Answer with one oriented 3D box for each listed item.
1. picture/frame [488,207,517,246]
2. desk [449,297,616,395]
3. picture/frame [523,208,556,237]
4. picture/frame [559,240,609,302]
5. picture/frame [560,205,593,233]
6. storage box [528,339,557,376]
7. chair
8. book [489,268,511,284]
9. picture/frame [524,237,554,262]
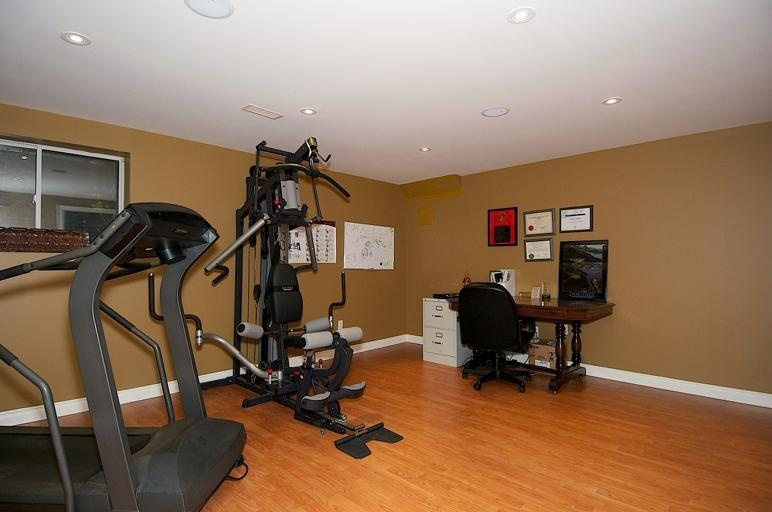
[{"bbox_3d":[1.599,-0.400,7.279,0.543,0.629,0.044,-2,-8,41],"label":"picture/frame"},{"bbox_3d":[1.971,0.860,6.305,0.949,1.013,1.535,-2,1,-37],"label":"desk"},{"bbox_3d":[2.005,-0.430,6.926,0.400,0.392,0.042,-1,-3,44],"label":"picture/frame"},{"bbox_3d":[2.445,0.195,6.538,0.758,1.022,0.069,-1,-5,33],"label":"picture/frame"},{"bbox_3d":[2.387,-0.461,6.649,0.358,0.308,0.036,0,-3,44],"label":"picture/frame"},{"bbox_3d":[1.934,1.246,6.575,0.288,0.370,0.388,1,-1,-37],"label":"storage box"},{"bbox_3d":[1.276,0.904,6.217,0.926,1.131,0.875,-2,-1,-36],"label":"chair"},{"bbox_3d":[1.533,0.274,7.140,0.185,0.088,0.256,2,10,25],"label":"book"},{"bbox_3d":[1.989,-0.081,6.903,0.024,0.294,0.317,5,-5,-45],"label":"picture/frame"}]
